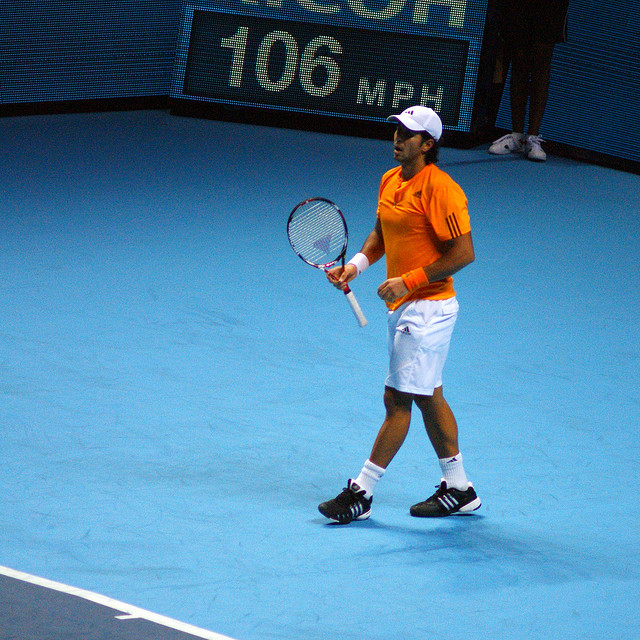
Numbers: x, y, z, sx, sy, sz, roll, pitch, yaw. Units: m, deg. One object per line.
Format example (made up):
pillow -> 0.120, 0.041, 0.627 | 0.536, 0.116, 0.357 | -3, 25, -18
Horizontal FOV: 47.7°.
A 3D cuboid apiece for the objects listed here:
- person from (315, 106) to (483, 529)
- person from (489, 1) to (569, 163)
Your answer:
person -> 0.447, -0.027, 3.244 | 0.848, 1.232, 0.627 | 7, 4, -6
person -> 2.330, -2.724, 8.236 | 0.748, 1.322, 0.787 | 9, 4, 14
